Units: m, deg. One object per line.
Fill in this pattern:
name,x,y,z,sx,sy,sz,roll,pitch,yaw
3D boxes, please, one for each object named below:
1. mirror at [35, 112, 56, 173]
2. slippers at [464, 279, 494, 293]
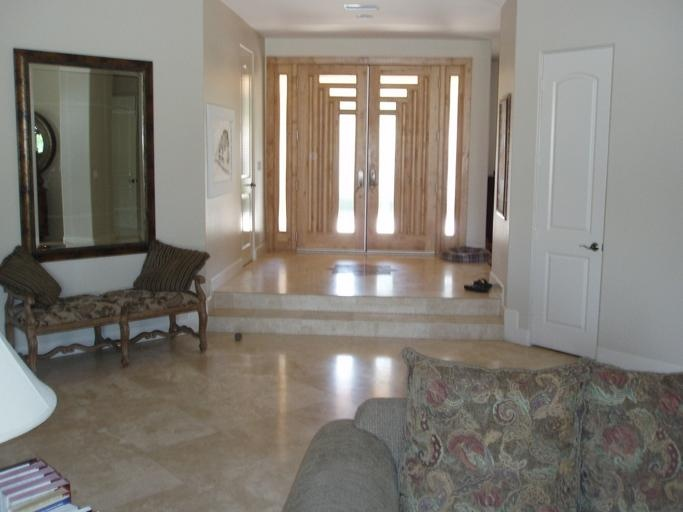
mirror,-2.845,-1.083,5.063,0.382,0.429,0.095,13,15,20
slippers,1.657,0.363,6.346,0.341,0.126,0.329,4,13,16
